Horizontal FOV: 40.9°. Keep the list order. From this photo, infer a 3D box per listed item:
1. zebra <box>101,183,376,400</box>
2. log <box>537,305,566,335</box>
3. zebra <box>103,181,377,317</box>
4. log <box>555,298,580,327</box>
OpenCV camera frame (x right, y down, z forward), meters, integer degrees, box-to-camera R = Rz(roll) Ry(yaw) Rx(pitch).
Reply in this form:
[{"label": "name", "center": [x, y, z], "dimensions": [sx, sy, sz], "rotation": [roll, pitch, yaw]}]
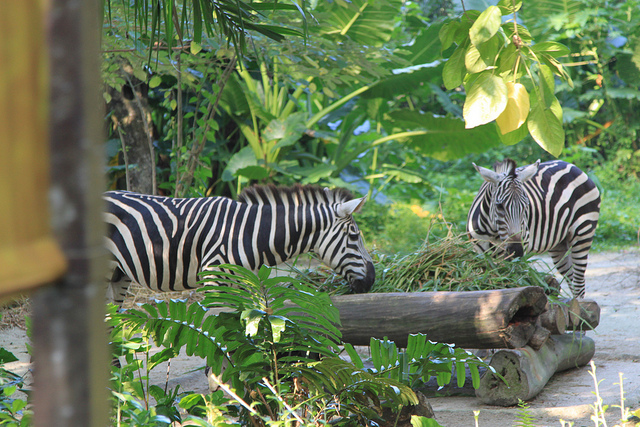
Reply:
[{"label": "zebra", "center": [-0.939, 0.627, 8.061], "dimensions": [2.900, 2.069, 0.782], "rotation": [7, 6, 16]}, {"label": "log", "center": [2.071, 0.940, 7.732], "dimensions": [0.243, 0.279, 0.258], "rotation": [7, 18, 9]}, {"label": "zebra", "center": [-1.015, 0.548, 8.026], "dimensions": [2.955, 1.748, 0.832], "rotation": [1, -5, 7]}, {"label": "log", "center": [2.279, 0.907, 7.880], "dimensions": [0.112, 0.223, 0.217], "rotation": [-9, -19, 10]}]
